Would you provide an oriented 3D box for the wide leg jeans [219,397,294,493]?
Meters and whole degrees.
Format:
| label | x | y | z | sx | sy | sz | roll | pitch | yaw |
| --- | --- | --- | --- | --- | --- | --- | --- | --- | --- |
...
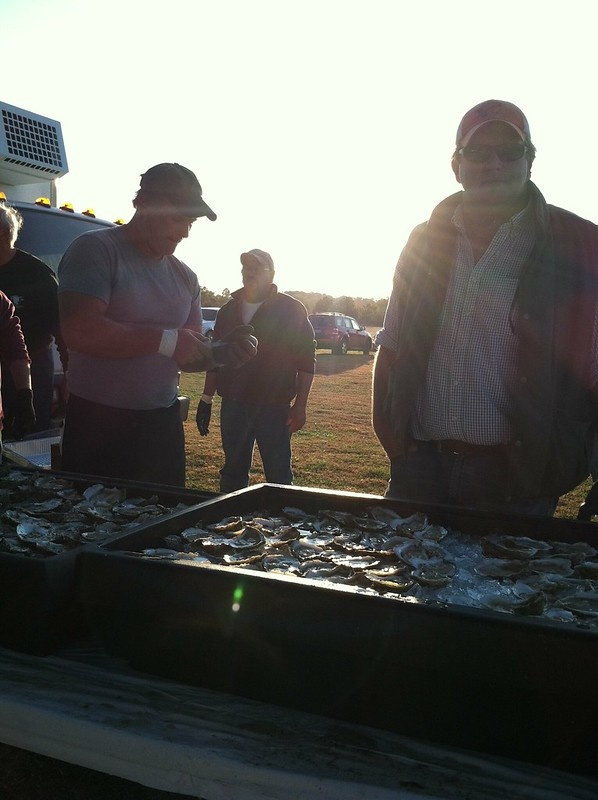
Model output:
| label | x | y | z | sx | sy | sz | roll | pitch | yaw |
| --- | --- | --- | --- | --- | --- | --- | --- | --- | --- |
| wide leg jeans | -0.311 | 0.356 | 4.156 | 0.509 | 0.915 | 0.265 | 1 | 28 | -1 |

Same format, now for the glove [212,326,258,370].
| label | x | y | z | sx | sy | sz | roll | pitch | yaw |
| --- | --- | --- | --- | --- | --- | --- | --- | --- | --- |
| glove | -0.220 | -0.178 | 1.970 | 0.148 | 0.141 | 0.137 | -3 | 13 | -9 |

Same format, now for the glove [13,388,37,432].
| label | x | y | z | sx | sy | sz | roll | pitch | yaw |
| --- | --- | --- | --- | --- | --- | --- | --- | --- | --- |
| glove | -1.347 | 0.056 | 2.896 | 0.060 | 0.193 | 0.138 | -2 | 15 | -34 |

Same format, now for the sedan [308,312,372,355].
| label | x | y | z | sx | sy | sz | roll | pitch | yaw |
| --- | --- | --- | --- | --- | --- | --- | --- | --- | --- |
| sedan | 1.601 | -2.677 | 24.261 | 1.664 | 1.522 | 3.517 | 5 | 11 | 32 |

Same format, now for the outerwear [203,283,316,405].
| label | x | y | z | sx | sy | sz | roll | pitch | yaw |
| --- | --- | --- | --- | --- | --- | --- | --- | --- | --- |
| outerwear | -0.294 | -0.448 | 4.107 | 0.793 | 0.739 | 0.422 | 13 | 15 | 15 |

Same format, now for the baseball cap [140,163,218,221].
| label | x | y | z | sx | sy | sz | roll | pitch | yaw |
| --- | --- | --- | --- | --- | --- | --- | --- | --- | --- |
| baseball cap | -0.453 | -0.803 | 2.236 | 0.325 | 0.173 | 0.233 | 3 | 14 | -30 |
